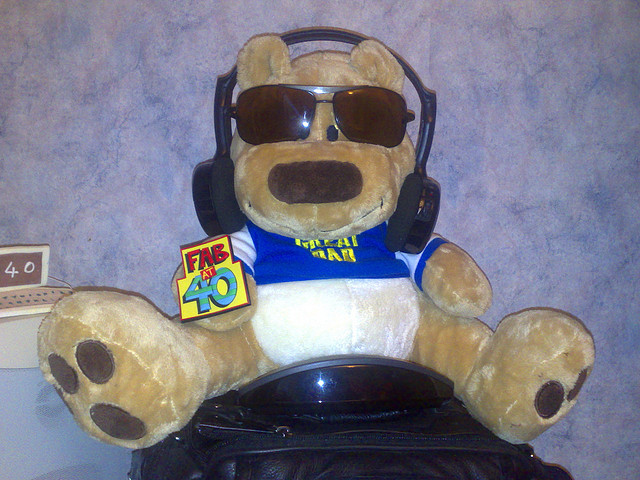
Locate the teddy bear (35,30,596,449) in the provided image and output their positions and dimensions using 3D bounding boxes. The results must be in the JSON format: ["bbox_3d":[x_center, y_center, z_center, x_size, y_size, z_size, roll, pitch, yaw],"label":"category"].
[{"bbox_3d":[-0.008,-0.010,1.819,1.045,0.438,0.706,-1,53,-2],"label":"teddy bear"}]
